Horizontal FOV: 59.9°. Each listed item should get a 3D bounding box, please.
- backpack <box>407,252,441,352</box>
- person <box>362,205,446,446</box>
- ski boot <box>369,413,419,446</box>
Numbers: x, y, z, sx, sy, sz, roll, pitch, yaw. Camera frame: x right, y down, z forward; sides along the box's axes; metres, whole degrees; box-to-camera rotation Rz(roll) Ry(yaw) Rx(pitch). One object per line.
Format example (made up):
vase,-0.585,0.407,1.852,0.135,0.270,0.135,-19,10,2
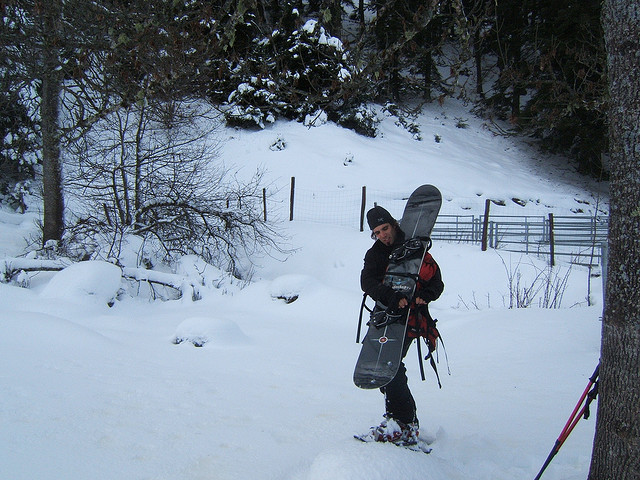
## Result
backpack,1.191,0.736,6.235,0.309,1.205,0.201,15,-1,36
person,0.844,0.886,6.709,0.631,3.034,0.426,3,46,-1
ski boot,0.800,2.094,6.049,0.381,0.227,0.306,-3,-6,35
